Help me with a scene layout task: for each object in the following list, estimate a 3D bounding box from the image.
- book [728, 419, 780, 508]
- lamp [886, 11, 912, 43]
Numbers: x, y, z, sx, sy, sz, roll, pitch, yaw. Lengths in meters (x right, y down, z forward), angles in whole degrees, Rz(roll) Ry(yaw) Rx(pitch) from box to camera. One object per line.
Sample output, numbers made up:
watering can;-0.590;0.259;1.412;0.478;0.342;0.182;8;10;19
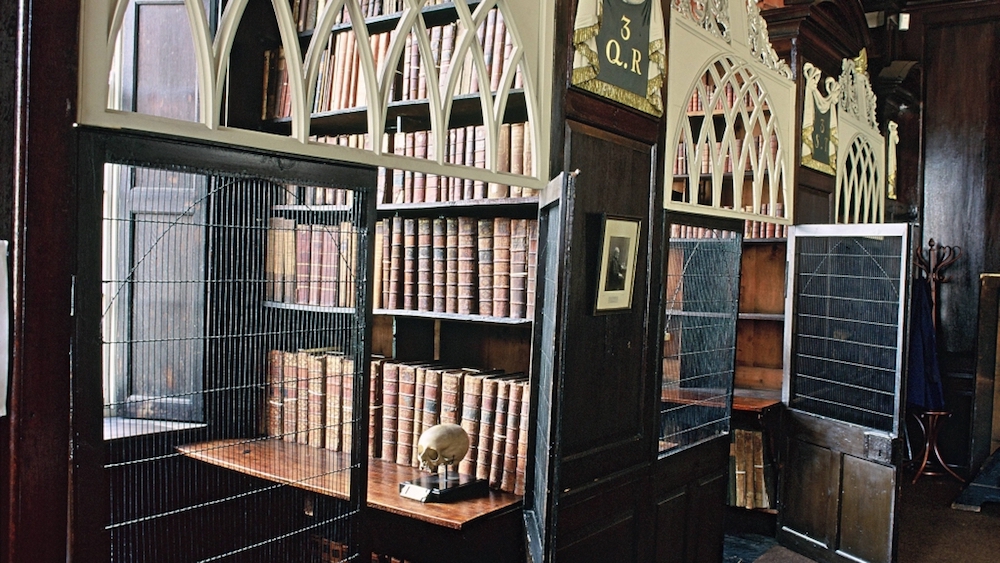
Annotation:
book;2.222;1.605;7.185;0.535;0.685;0.160;2;6;11
lamp;4.354;-2.808;8.914;0.333;0.312;0.245;0;-2;34
